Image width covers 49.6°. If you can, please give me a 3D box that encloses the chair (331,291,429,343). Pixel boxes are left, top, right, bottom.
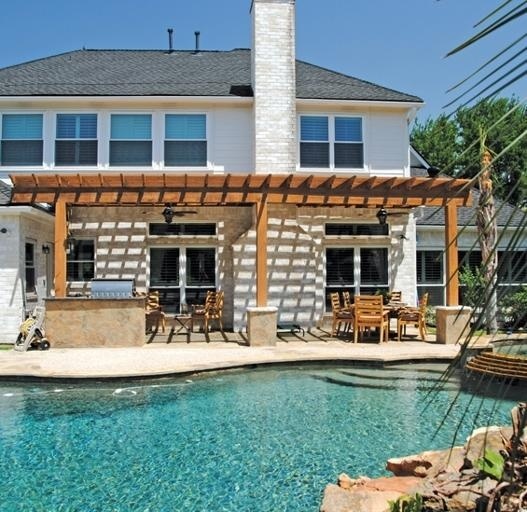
[{"bbox_3d":[2.454,1.246,11.911,1.370,0.713,1.423,0,0,14],"label":"chair"}]

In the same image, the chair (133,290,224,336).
[{"bbox_3d":[-1.885,1.283,12.788,1.834,1.061,2.367,0,4,-11],"label":"chair"}]
